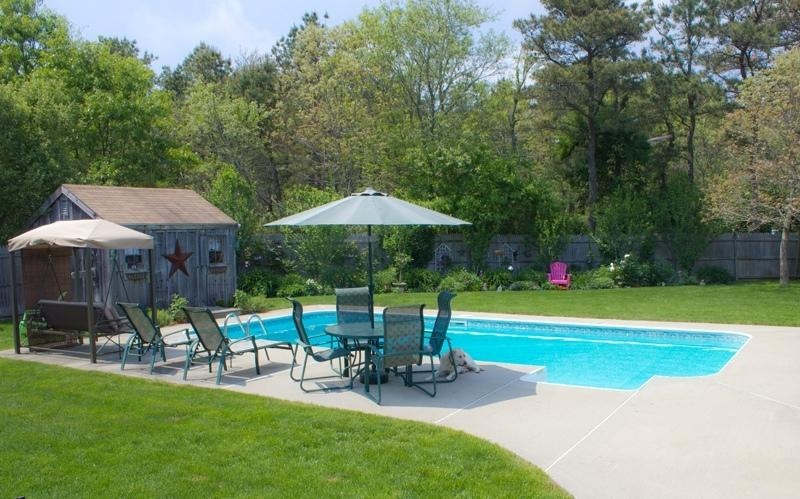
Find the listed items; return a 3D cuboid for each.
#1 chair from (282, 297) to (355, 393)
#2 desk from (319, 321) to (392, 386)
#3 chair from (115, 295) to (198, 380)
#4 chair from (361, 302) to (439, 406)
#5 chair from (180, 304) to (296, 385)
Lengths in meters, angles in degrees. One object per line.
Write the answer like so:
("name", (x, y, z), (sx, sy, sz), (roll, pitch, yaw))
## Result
("chair", (-2.828, 3.196, 31.200), (2.712, 4.326, 2.677), (-1, 2, -17))
("desk", (-1.510, 3.535, 29.599), (1.955, 1.550, 2.020), (0, 3, 14))
("chair", (-8.840, 3.103, 31.478), (1.963, 2.558, 2.768), (4, 1, 36))
("chair", (-0.184, 3.311, 29.396), (2.261, 3.315, 2.229), (-6, 10, -36))
("chair", (-5.833, 3.211, 31.049), (2.031, 2.557, 3.698), (-1, 2, 40))
